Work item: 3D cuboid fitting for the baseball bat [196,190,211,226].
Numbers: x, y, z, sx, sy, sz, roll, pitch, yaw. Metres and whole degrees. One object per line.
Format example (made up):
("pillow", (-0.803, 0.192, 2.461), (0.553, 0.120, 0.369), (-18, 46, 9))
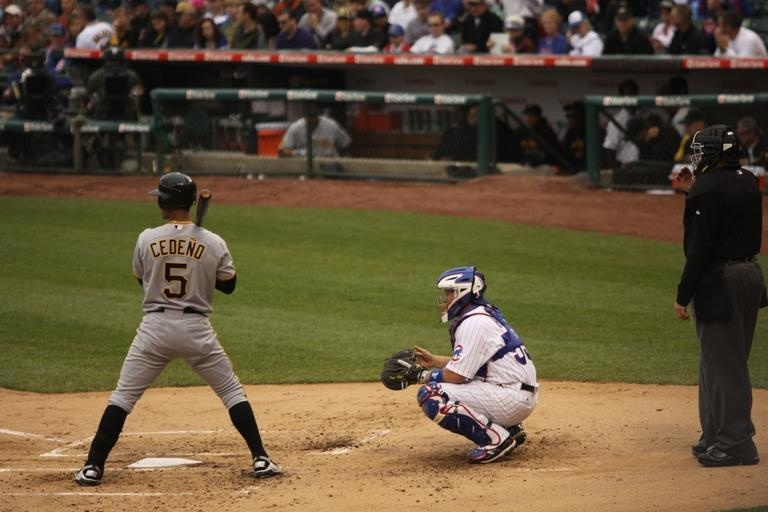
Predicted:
("baseball bat", (-1.855, -0.482, 15.783), (0.107, 0.474, 0.080), (32, 52, 8))

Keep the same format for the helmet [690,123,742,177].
("helmet", (3.428, -1.123, 16.145), (0.608, 0.471, 0.446), (6, 8, 21))

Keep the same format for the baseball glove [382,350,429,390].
("baseball glove", (0.270, 1.167, 16.313), (0.385, 0.148, 0.472), (21, 20, 40))

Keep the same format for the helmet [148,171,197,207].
("helmet", (-2.170, -0.669, 15.849), (0.462, 0.203, 0.335), (17, 19, 15))

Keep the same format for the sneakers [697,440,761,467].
("sneakers", (3.528, 2.023, 15.840), (0.648, 0.235, 0.247), (2, 2, 0))

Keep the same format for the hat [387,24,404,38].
("hat", (0.190, -3.172, 21.816), (0.166, 0.110, 0.216), (19, 4, 23))

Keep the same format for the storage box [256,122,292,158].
("storage box", (-1.496, -1.600, 20.767), (0.613, 0.476, 0.440), (5, 18, 11))

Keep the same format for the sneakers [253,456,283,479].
("sneakers", (-1.196, 2.150, 15.725), (0.157, 0.133, 0.343), (0, -5, 38))

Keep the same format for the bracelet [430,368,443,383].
("bracelet", (0.574, 1.252, 16.094), (0.155, 0.094, 0.139), (-2, -2, 2))

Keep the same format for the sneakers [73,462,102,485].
("sneakers", (-3.003, 2.215, 15.708), (0.273, 0.221, 0.180), (-1, 8, -10))
